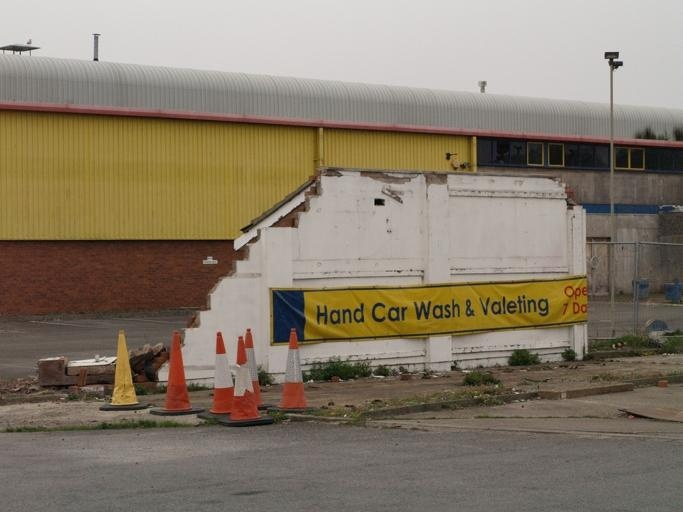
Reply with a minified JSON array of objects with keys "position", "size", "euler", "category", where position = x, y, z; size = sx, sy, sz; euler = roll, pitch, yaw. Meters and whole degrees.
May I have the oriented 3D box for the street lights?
[{"position":[10.274,-5.543,63.360],"size":[0.688,3.634,0.693],"euler":[0,3,10],"category":"street lights"}]
